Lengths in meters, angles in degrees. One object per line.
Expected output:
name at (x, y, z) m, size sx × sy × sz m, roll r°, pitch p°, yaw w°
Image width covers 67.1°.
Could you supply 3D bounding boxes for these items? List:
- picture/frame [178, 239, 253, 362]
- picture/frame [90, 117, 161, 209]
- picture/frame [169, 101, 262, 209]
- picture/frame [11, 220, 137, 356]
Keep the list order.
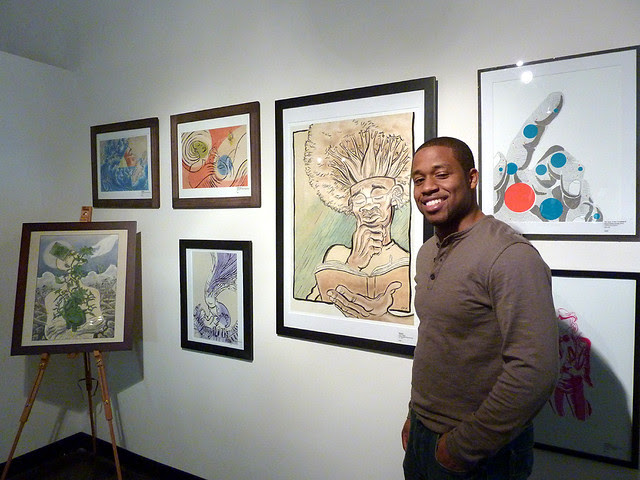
picture/frame at (-0.619, 0.350, 2.953) m, size 0.671 × 0.947 × 0.049 m, roll 2°, pitch 4°, yaw 32°
picture/frame at (-1.289, -0.532, 3.250) m, size 0.554 × 0.597 × 0.042 m, roll 4°, pitch 6°, yaw 30°
picture/frame at (-0.608, -0.522, 2.911) m, size 0.587 × 0.609 × 0.024 m, roll 4°, pitch 8°, yaw 30°
picture/frame at (-1.537, 0.298, 3.034) m, size 0.779 × 1.002 × 0.043 m, roll -1°, pitch -13°, yaw 3°
